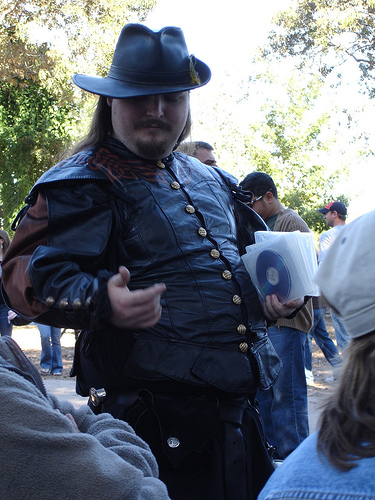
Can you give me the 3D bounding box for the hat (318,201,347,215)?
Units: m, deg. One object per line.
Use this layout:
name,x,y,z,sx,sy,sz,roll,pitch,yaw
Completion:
hat,2.035,-0.602,7.439,0.352,0.157,0.200,6,1,26

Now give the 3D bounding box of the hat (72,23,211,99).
hat,-0.119,-0.734,1.960,0.576,0.200,0.554,-10,28,-18

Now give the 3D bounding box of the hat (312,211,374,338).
hat,0.302,0.045,0.954,0.074,0.232,0.141,0,10,-22

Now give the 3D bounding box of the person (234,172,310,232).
person,0.712,-0.331,4.383,0.453,0.613,0.770,-15,10,2
